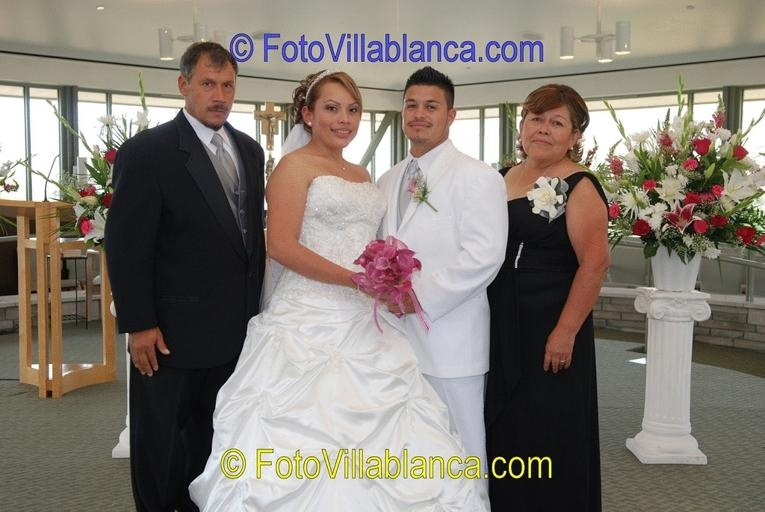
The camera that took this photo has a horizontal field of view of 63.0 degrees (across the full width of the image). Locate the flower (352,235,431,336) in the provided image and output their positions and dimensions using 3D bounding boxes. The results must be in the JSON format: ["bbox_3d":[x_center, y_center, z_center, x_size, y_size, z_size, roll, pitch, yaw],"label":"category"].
[{"bbox_3d":[0.049,0.166,3.453,0.415,0.363,0.274,8,-3,14],"label":"flower"}]

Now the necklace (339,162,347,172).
[{"bbox_3d":[-0.246,-0.528,3.727,0.033,0.012,0.046,27,25,-30],"label":"necklace"}]

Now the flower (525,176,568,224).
[{"bbox_3d":[0.965,-0.331,3.649,0.244,0.257,0.113,-1,4,18],"label":"flower"}]

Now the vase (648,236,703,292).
[{"bbox_3d":[2.294,0.083,4.960,0.338,0.290,0.368,1,-4,-15],"label":"vase"}]

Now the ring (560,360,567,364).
[{"bbox_3d":[1.076,0.631,3.737,0.025,0.024,0.020,-6,2,-10],"label":"ring"}]

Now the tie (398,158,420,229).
[{"bbox_3d":[0.149,-0.385,3.757,0.119,0.437,0.072,-5,-33,31],"label":"tie"}]
